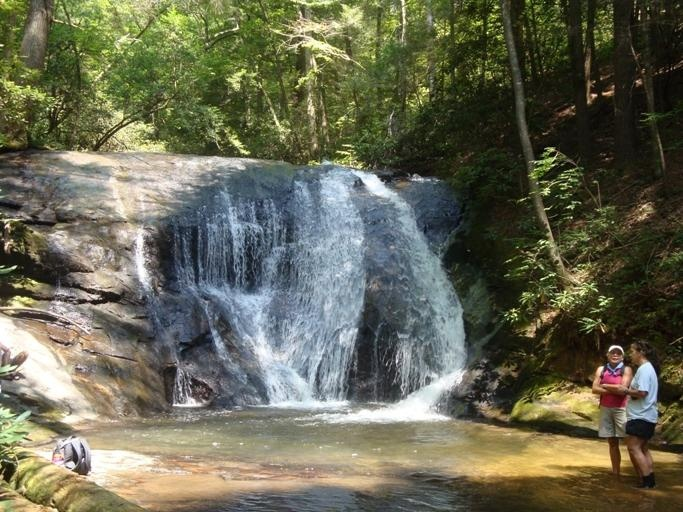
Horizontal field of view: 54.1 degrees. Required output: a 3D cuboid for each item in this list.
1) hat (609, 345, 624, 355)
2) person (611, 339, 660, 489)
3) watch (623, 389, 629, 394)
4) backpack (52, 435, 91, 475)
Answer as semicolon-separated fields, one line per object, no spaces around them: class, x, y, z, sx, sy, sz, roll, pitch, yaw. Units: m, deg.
hat;4.937;1.678;12.007;0.219;0.102;0.328;-3;-10;18
person;5.229;2.729;11.557;0.548;2.482;0.318;0;-3;5
watch;4.965;2.353;11.627;0.082;0.023;0.082;-18;-45;37
backpack;-4.392;3.269;10.850;0.559;0.659;0.376;1;-3;-24
